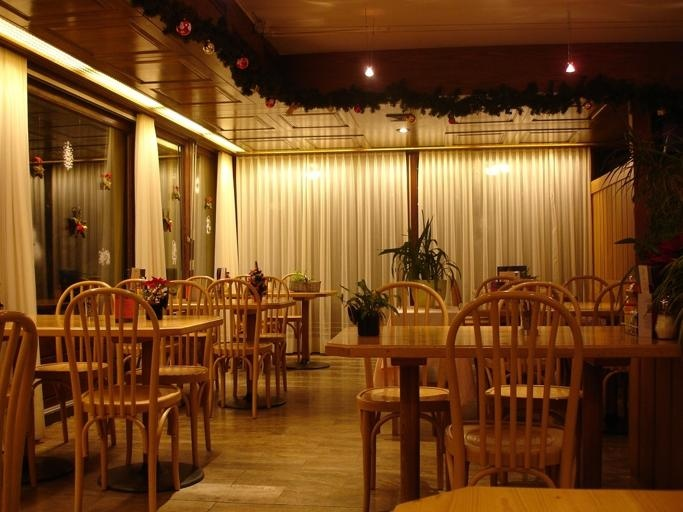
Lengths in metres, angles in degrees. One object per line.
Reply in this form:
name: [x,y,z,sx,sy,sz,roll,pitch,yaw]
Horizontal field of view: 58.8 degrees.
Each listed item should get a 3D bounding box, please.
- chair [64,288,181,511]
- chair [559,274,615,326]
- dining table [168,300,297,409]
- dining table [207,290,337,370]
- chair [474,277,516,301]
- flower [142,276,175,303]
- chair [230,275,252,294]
chair: [-1.487,0.806,4.125,0.664,1.299,1.890,-1,2,-22]
chair: [2.294,0.391,5.586,0.359,0.574,0.430,1,-1,18]
dining table: [-0.969,0.872,5.309,0.895,0.633,0.980,0,-1,12]
dining table: [-0.655,0.877,7.452,0.832,0.914,0.899,-2,-1,10]
chair: [1.067,0.220,4.198,0.247,0.270,0.267,1,-7,0]
flower: [-1.283,0.229,4.145,0.147,0.172,0.159,1,-7,-17]
chair: [-1.011,0.288,6.068,0.177,0.251,0.178,2,-12,-7]
